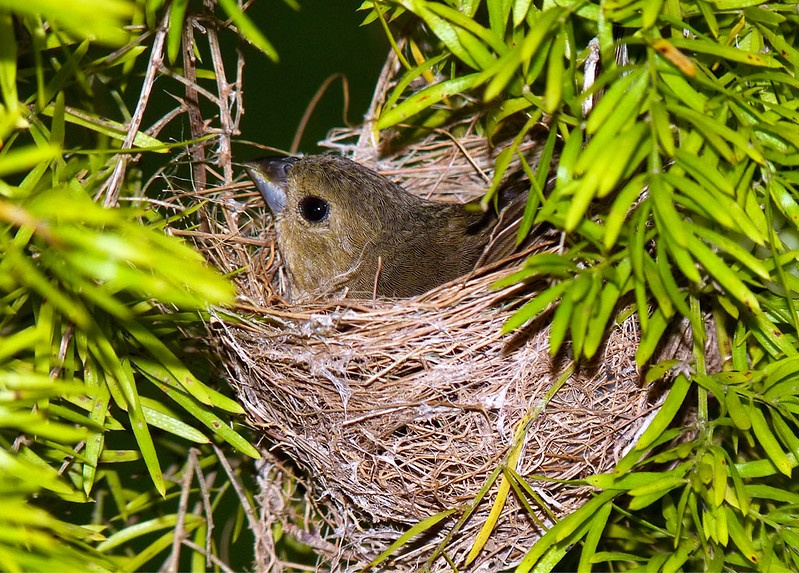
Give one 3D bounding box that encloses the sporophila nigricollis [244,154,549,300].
[{"bbox_3d":[-0.075,-0.166,2.269,0.768,0.520,0.393,9,53,-10],"label":"sporophila nigricollis"}]
